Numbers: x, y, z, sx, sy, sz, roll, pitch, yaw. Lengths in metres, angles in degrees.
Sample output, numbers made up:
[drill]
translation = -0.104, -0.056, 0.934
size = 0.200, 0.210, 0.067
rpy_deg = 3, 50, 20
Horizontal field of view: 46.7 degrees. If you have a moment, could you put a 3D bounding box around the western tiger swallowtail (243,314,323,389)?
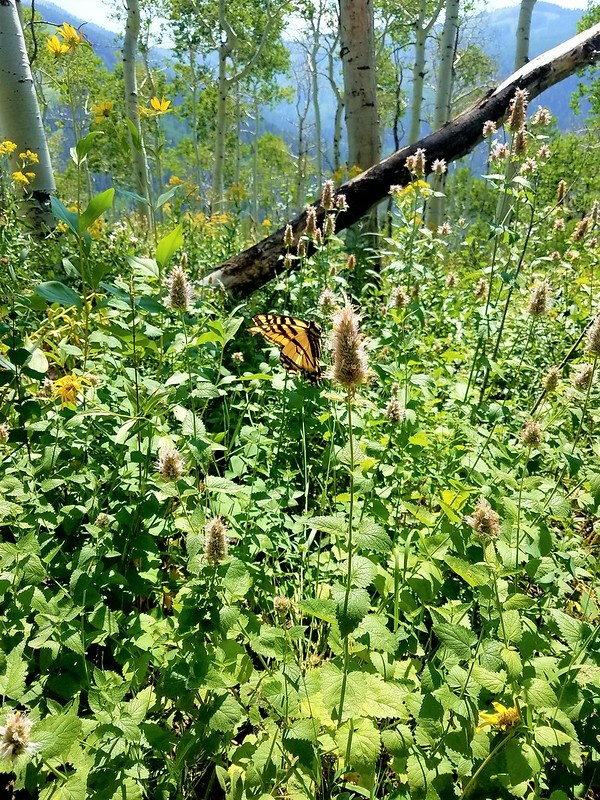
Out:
[western tiger swallowtail]
translation = -0.085, -0.246, 3.267
size = 0.322, 0.326, 0.187
rpy_deg = -14, -6, -18
